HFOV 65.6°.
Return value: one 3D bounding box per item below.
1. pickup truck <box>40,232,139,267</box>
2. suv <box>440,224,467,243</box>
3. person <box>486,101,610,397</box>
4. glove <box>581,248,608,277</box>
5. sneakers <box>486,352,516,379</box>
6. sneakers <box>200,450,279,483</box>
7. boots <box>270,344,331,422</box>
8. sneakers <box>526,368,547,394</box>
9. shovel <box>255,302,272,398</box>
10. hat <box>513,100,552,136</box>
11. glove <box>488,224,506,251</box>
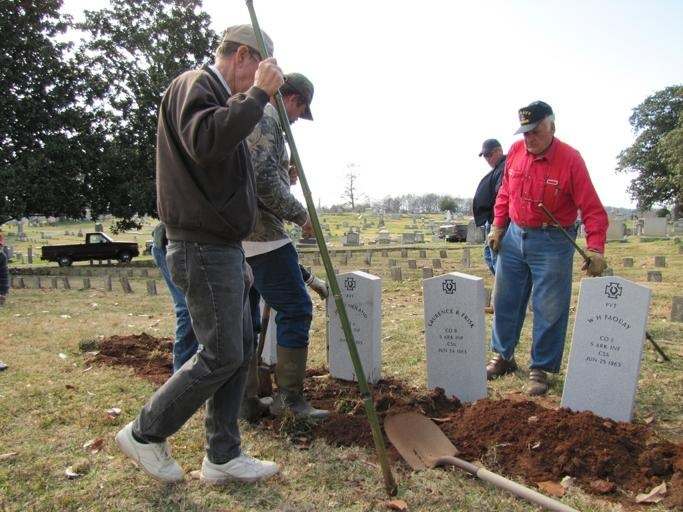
[{"bbox_3d":[-10.968,-0.300,23.460,3.882,1.519,1.893,-5,10,-29],"label":"pickup truck"},{"bbox_3d":[6.432,-1.249,30.056,1.413,1.077,3.597,2,10,13],"label":"suv"},{"bbox_3d":[1.924,-0.106,5.107,1.165,2.692,0.805,7,12,35],"label":"person"},{"bbox_3d":[2.247,0.065,4.726,0.175,0.268,0.103,4,-13,-6],"label":"glove"},{"bbox_3d":[1.637,1.118,5.408,0.427,0.194,0.149,-1,-5,-43],"label":"sneakers"},{"bbox_3d":[-0.662,1.373,3.517,0.506,0.236,0.188,0,0,-11],"label":"sneakers"},{"bbox_3d":[-0.314,0.990,4.252,0.465,0.572,0.274,5,4,10],"label":"boots"},{"bbox_3d":[1.855,1.159,4.965,0.183,0.176,0.365,5,11,25],"label":"sneakers"},{"bbox_3d":[-0.674,0.844,4.624,0.128,0.663,0.072,5,10,22],"label":"shovel"},{"bbox_3d":[1.816,-1.293,4.935,0.299,0.293,0.199,3,10,19],"label":"hat"},{"bbox_3d":[1.644,-0.191,5.577,0.084,0.252,0.169,24,-15,-33],"label":"glove"}]
